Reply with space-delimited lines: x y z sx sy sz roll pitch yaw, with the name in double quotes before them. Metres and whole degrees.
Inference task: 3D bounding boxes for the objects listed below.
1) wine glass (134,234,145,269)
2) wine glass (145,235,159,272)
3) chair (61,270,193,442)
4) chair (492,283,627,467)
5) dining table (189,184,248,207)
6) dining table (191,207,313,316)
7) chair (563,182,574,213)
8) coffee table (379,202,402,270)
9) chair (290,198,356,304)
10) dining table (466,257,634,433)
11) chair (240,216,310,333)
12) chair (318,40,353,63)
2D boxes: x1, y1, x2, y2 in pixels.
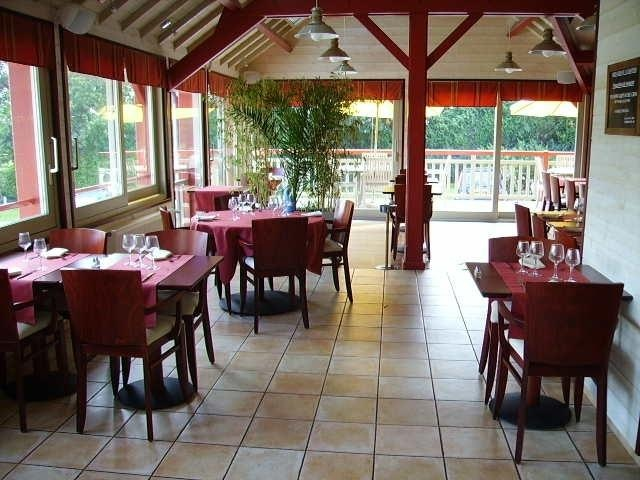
"wine glass" -1.311 0.052 3.684 0.069 0.235 0.302 -5 15 -19
"wine glass" -1.221 0.066 3.656 0.084 0.222 0.315 -5 15 -19
"chair" -1.259 0.652 3.360 0.640 1.102 0.623 2 14 9
"chair" 1.426 0.722 3.076 0.574 1.103 0.548 0 14 3
"dining table" -1.668 -0.697 7.817 0.605 0.280 0.647 -2 11 -9
"dining table" -0.654 0.235 5.100 0.987 0.825 1.076 1 20 7
"chair" 4.176 -0.761 8.449 0.162 0.506 0.306 6 15 25
"coffee table" 0.881 -0.019 6.644 0.268 0.824 0.290 1 1 -13
"chair" 0.071 0.057 5.876 0.812 1.602 0.882 -1 9 -18
"dining table" 1.495 0.709 3.603 0.924 1.042 1.011 -1 26 1
"chair" -0.401 0.217 4.937 0.611 1.148 0.661 -6 22 -17
"chair" 0.197 -2.493 6.596 0.356 0.250 0.486 1 14 6
